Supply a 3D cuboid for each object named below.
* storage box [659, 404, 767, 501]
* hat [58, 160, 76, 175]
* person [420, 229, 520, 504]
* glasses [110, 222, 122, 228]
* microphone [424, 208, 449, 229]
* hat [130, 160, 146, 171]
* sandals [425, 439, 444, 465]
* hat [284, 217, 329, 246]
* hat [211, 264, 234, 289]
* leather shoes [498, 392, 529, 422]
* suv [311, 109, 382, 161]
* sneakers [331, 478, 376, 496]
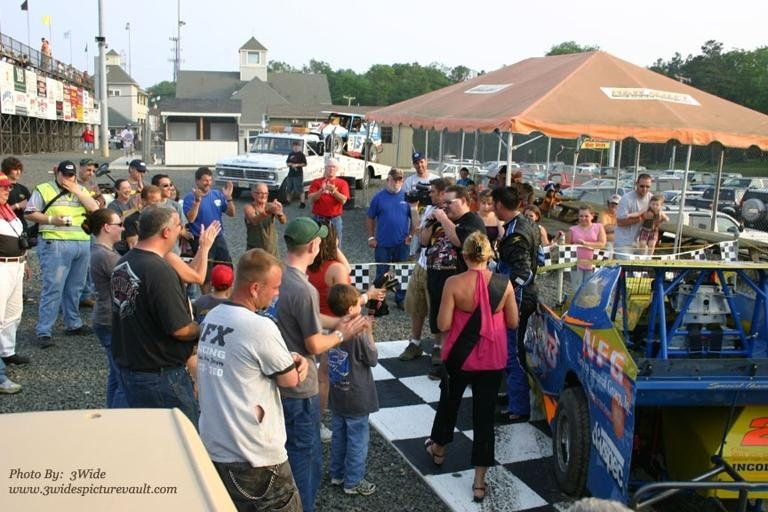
[{"bbox_3d":[2.938,1.640,6.777,0.853,0.532,0.803,-2,5,4],"label":"storage box"},{"bbox_3d":[-4.085,-1.153,9.591,0.166,0.139,0.237,8,16,-43],"label":"hat"},{"bbox_3d":[0.844,1.016,6.989,0.714,2.436,0.594,5,11,12],"label":"person"},{"bbox_3d":[-2.838,-0.343,7.905,0.067,0.055,0.157,6,11,14],"label":"glasses"},{"bbox_3d":[0.559,-0.456,8.654,0.412,0.176,0.118,-16,10,-25],"label":"microphone"},{"bbox_3d":[-3.699,-1.370,11.051,0.266,0.140,0.190,15,12,34],"label":"hat"},{"bbox_3d":[0.511,1.954,7.440,0.112,0.119,0.308,3,21,-11],"label":"sandals"},{"bbox_3d":[-0.692,-0.210,6.657,0.213,0.176,0.342,18,39,36],"label":"hat"},{"bbox_3d":[-1.625,0.210,7.491,0.218,0.170,0.355,14,32,-18],"label":"hat"},{"bbox_3d":[1.395,1.641,8.305,0.368,0.238,0.197,0,1,-13],"label":"leather shoes"},{"bbox_3d":[-1.057,-3.983,25.393,3.123,1.377,1.681,-2,21,-44],"label":"suv"},{"bbox_3d":[-0.283,2.195,7.061,0.407,0.187,0.164,-1,9,-9],"label":"sneakers"}]
